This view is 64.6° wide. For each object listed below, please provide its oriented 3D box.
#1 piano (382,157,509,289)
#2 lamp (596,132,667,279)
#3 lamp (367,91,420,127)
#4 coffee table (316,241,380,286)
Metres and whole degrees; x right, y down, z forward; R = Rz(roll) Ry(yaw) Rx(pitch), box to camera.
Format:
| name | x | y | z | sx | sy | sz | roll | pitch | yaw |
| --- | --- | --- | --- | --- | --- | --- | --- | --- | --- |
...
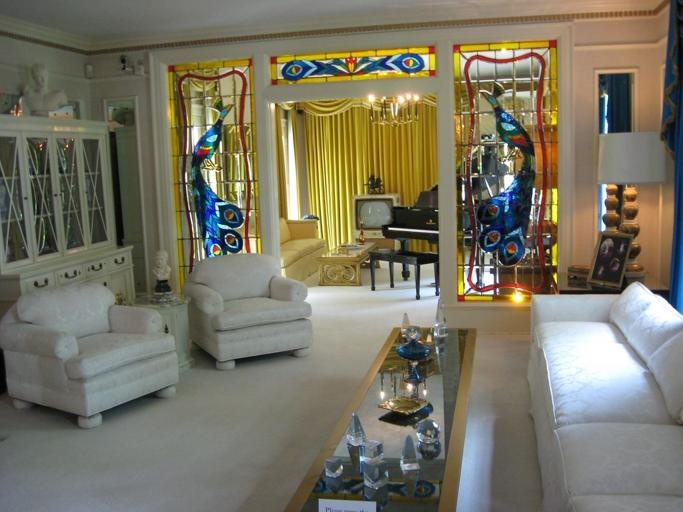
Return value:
| name | x | y | z | sx | sy | sz | roll | pitch | yaw |
| --- | --- | --- | --- | --- | --- | --- | --- | --- | --- |
| piano | 1.202 | -0.484 | 7.057 | 0.849 | 1.529 | 2.427 | -3 | 11 | -8 |
| lamp | 2.745 | -0.523 | 5.105 | 0.533 | 1.266 | 0.696 | 7 | 14 | 36 |
| lamp | 0.919 | -2.536 | 9.462 | 0.909 | 0.504 | 1.032 | -1 | 11 | 2 |
| coffee table | 0.025 | 0.111 | 8.147 | 0.715 | 0.543 | 0.719 | -1 | 11 | 2 |
